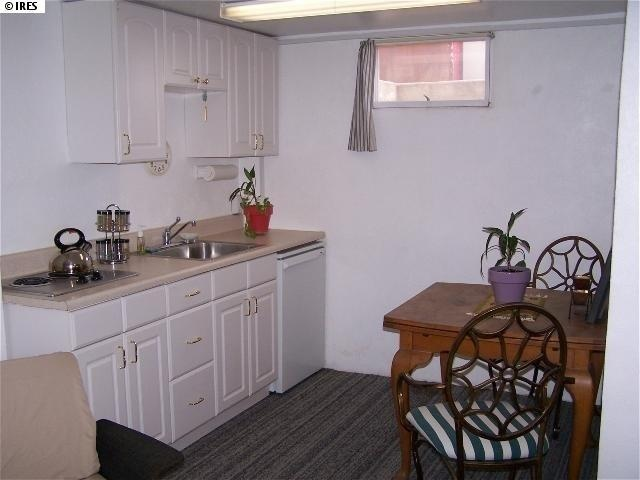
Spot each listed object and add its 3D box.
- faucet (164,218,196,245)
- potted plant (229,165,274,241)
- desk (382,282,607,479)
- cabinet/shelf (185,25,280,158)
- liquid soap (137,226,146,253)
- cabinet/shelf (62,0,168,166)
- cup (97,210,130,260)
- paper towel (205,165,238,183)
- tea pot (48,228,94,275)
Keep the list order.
[{"bbox_3d":[-1.071,-0.084,3.599,0.221,0.195,0.382,-4,10,-18],"label":"faucet"},{"bbox_3d":[-0.595,-0.344,4.062,0.382,0.582,0.603,-1,10,-6],"label":"potted plant"},{"bbox_3d":[0.975,0.421,2.691,1.048,0.871,1.164,2,8,24],"label":"desk"},{"bbox_3d":[-0.703,-1.152,3.671,0.510,1.129,0.946,2,5,26],"label":"cabinet/shelf"},{"bbox_3d":[-1.218,0.002,3.241,0.043,0.169,0.058,-3,10,-16],"label":"liquid soap"},{"bbox_3d":[-1.223,-0.946,2.893,0.594,0.937,0.306,-6,11,-28],"label":"cabinet/shelf"},{"bbox_3d":[-1.347,-0.049,3.097,0.206,0.343,0.337,-5,11,-25],"label":"cup"},{"bbox_3d":[-0.826,-0.566,4.018,0.146,0.135,0.333,2,10,17],"label":"paper towel"},{"bbox_3d":[-1.422,0.041,2.769,0.262,0.277,0.252,0,9,0],"label":"tea pot"}]
